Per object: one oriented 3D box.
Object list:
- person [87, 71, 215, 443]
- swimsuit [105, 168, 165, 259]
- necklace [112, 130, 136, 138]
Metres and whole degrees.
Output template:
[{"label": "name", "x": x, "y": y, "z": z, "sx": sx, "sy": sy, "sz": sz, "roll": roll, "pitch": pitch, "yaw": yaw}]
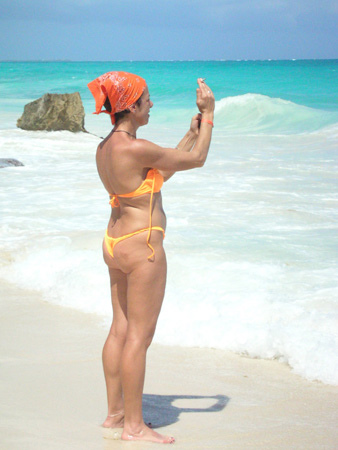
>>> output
[{"label": "person", "x": -0.171, "y": 0.156, "z": 2.687, "sx": 0.609, "sy": 1.371, "sz": 0.322, "roll": 6, "pitch": 2, "yaw": 1}, {"label": "swimsuit", "x": -0.166, "y": -0.052, "z": 2.692, "sx": 0.305, "sy": 0.336, "sz": 0.237, "roll": 6, "pitch": 2, "yaw": 1}, {"label": "necklace", "x": -0.219, "y": -0.447, "z": 2.664, "sx": 0.117, "sy": 0.028, "sz": 0.101, "roll": 4, "pitch": 2, "yaw": -6}]
